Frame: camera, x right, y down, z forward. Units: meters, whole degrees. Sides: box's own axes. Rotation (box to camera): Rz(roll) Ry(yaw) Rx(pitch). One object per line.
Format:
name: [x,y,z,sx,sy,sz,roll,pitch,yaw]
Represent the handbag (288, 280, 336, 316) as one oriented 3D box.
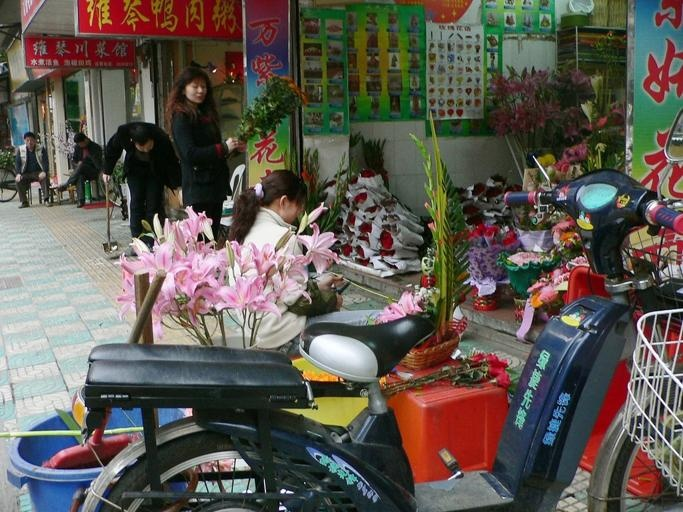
handbag: [-0.147,0.231,3.292,0.218,0.096,0.175,-10,32,-10]
